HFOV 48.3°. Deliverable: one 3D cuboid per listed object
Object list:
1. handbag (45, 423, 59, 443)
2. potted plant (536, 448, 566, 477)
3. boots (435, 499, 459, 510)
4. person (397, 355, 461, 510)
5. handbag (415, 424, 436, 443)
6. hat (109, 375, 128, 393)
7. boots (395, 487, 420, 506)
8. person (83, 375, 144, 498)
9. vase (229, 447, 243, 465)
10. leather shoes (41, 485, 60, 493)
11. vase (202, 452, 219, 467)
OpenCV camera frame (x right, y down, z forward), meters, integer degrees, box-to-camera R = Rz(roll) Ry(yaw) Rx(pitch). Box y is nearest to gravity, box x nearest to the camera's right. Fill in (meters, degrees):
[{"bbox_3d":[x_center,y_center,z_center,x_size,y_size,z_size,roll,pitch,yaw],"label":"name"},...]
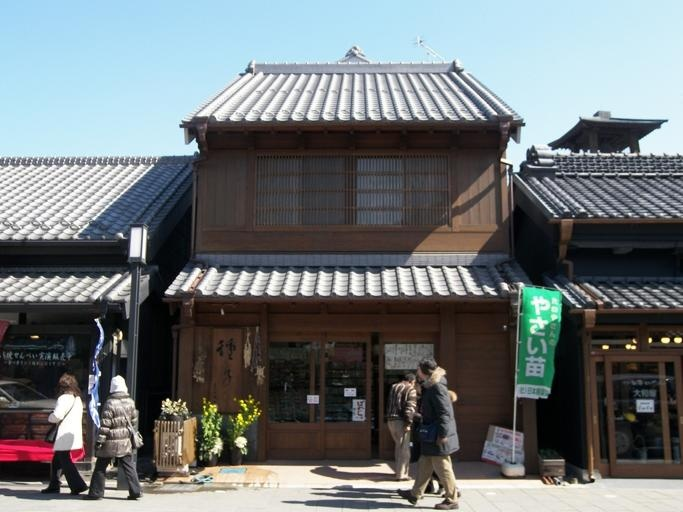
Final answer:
[{"bbox_3d":[-5.737,3.498,15.006,0.210,0.364,0.327,-5,8,-41],"label":"handbag"},{"bbox_3d":[4.459,4.449,16.201,0.448,0.362,0.769,-1,-7,9],"label":"potted plant"},{"bbox_3d":[1.991,4.735,14.509,0.408,0.189,0.177,3,-14,1],"label":"boots"},{"bbox_3d":[1.776,3.405,14.727,0.999,2.754,0.935,1,6,6],"label":"person"},{"bbox_3d":[1.615,3.380,14.511,0.393,0.360,0.264,-6,-35,22],"label":"handbag"},{"bbox_3d":[-4.427,2.553,15.136,0.362,0.384,0.388,2,-8,-15],"label":"hat"},{"bbox_3d":[1.255,4.677,14.802,0.158,0.194,0.461,4,8,-34],"label":"boots"},{"bbox_3d":[-4.455,3.559,14.860,1.035,2.311,0.797,-3,7,-24],"label":"person"},{"bbox_3d":[-2.315,4.416,16.787,0.324,0.342,0.318,-1,-22,-4],"label":"vase"},{"bbox_3d":[-5.765,4.638,15.108,0.340,0.139,0.134,6,-19,-3],"label":"leather shoes"},{"bbox_3d":[-2.871,4.433,16.565,0.310,0.232,0.315,2,-13,-5],"label":"vase"}]
